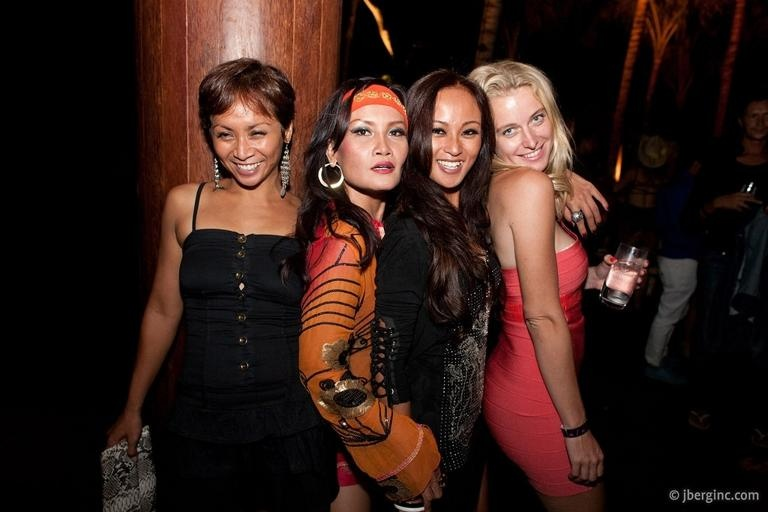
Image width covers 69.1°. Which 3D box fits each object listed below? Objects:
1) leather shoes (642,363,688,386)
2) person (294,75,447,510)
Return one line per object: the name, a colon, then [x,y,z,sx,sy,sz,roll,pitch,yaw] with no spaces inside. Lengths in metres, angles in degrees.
leather shoes: [3.371,1.420,6.684,0.478,0.210,0.180,5,35,25]
person: [-0.107,0.229,3.541,0.888,2.647,0.854,-1,12,-10]
